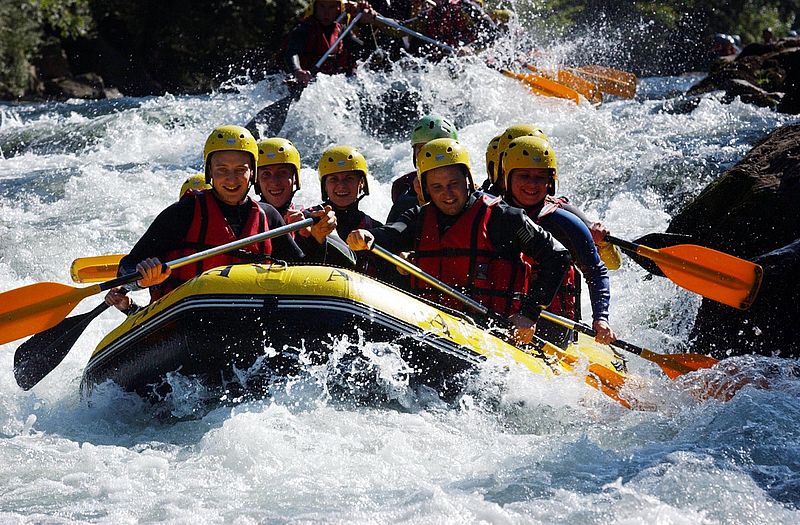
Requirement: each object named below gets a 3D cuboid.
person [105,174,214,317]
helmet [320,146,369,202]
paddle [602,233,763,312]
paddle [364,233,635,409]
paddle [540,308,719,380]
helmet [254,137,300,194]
[{"bbox_3d":[-2.253,-0.124,8.540,0.376,1.609,0.537,28,5,19],"label":"person"},{"bbox_3d":[-0.531,-0.938,8.801,0.393,0.417,0.517,-3,27,2],"label":"helmet"},{"bbox_3d":[2.663,0.049,8.280,1.677,0.449,0.143,24,6,30],"label":"paddle"},{"bbox_3d":[0.750,0.510,7.822,2.231,0.193,0.345,32,-16,7],"label":"paddle"},{"bbox_3d":[2.097,0.764,8.353,1.260,0.186,0.049,26,20,8],"label":"paddle"},{"bbox_3d":[-1.159,-1.022,8.908,0.384,0.435,0.497,0,27,-2],"label":"helmet"}]
